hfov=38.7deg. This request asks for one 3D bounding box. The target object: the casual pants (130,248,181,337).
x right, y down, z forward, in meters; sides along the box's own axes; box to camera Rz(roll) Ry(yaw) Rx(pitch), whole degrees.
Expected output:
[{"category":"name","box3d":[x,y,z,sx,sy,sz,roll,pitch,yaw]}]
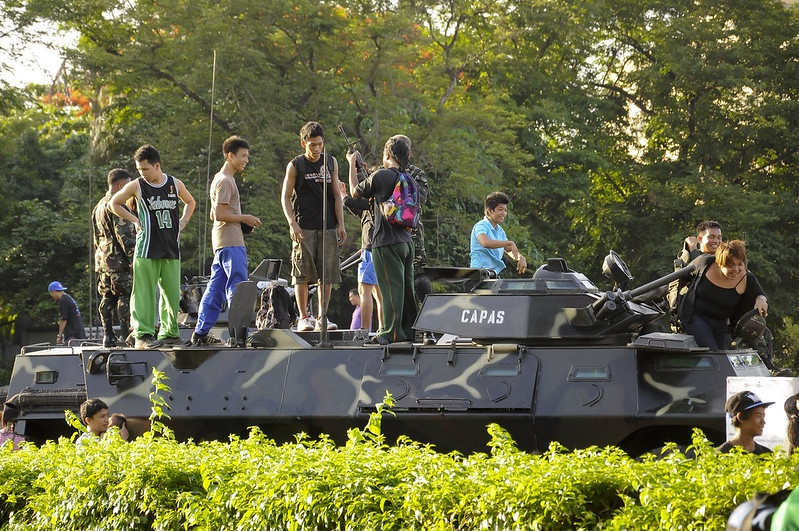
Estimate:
[{"category":"casual pants","box3d":[-3.776,0.418,17.740,0.688,1.509,0.432,-2,10,-22]}]

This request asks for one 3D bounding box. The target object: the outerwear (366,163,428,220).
[{"category":"outerwear","box3d":[-0.027,-1.333,17.793,0.831,0.835,0.830,27,3,-14]}]

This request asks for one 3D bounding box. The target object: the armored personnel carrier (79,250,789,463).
[{"category":"armored personnel carrier","box3d":[0.698,1.669,17.380,7.253,2.605,3.899,0,-1,14]}]

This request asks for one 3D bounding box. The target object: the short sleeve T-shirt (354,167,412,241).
[{"category":"short sleeve T-shirt","box3d":[-0.332,-0.900,17.207,0.936,1.276,1.058,3,-2,15]}]

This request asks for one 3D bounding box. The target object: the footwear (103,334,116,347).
[{"category":"footwear","box3d":[-4.653,1.202,18.268,0.210,0.208,0.217,-4,-8,15]}]

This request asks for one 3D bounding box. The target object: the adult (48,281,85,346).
[{"category":"adult","box3d":[-7.089,1.237,24.390,0.571,1.828,0.624,-1,18,7]}]

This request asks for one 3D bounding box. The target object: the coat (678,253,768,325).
[{"category":"coat","box3d":[4.621,0.536,17.091,1.361,1.257,0.689,4,-9,-44]}]

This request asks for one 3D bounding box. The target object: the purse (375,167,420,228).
[{"category":"purse","box3d":[0.031,-1.014,17.266,0.578,0.831,0.458,0,8,-44]}]

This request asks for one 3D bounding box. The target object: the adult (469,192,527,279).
[{"category":"adult","box3d":[1.619,-0.424,18.843,0.884,1.558,1.056,8,5,43]}]

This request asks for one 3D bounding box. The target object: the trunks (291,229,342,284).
[{"category":"trunks","box3d":[-1.297,-0.145,17.731,0.696,0.891,0.370,6,-18,-20]}]
